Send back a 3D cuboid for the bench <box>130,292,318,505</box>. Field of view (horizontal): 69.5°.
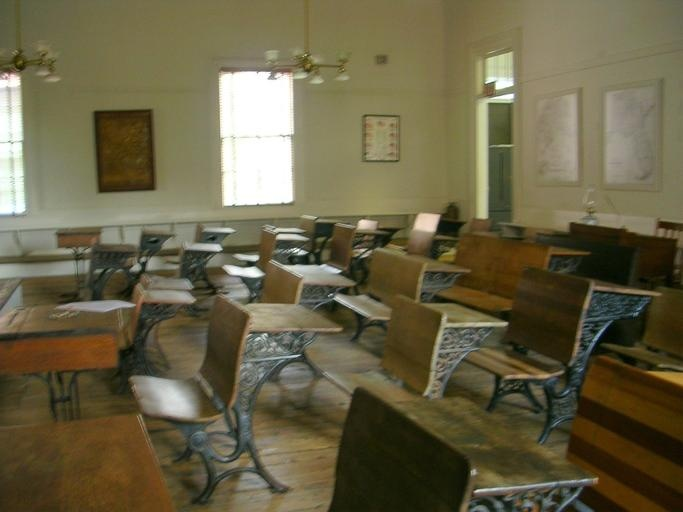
[{"bbox_3d":[-0.689,0.728,2.897,1.193,1.175,0.879,5,4,-22],"label":"bench"}]

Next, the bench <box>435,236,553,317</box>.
[{"bbox_3d":[1.274,0.113,4.150,0.742,0.607,1.398,-4,7,-23],"label":"bench"}]

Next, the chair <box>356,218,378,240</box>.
[{"bbox_3d":[0.373,-0.406,7.065,0.329,0.349,0.322,7,4,9],"label":"chair"}]

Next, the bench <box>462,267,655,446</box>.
[{"bbox_3d":[1.250,0.544,3.261,1.365,1.035,0.950,0,3,-17],"label":"bench"}]

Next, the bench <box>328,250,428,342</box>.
[{"bbox_3d":[0.380,0.248,3.991,0.757,0.630,1.082,-3,7,-23],"label":"bench"}]

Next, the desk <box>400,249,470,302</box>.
[{"bbox_3d":[0.818,0.171,4.250,0.441,0.207,0.575,13,1,-22],"label":"desk"}]

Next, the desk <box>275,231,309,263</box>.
[{"bbox_3d":[-0.649,-0.019,6.653,0.460,0.439,0.721,-1,3,-6],"label":"desk"}]

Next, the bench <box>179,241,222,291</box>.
[{"bbox_3d":[-1.807,0.163,6.441,0.487,0.787,1.466,-5,9,-14],"label":"bench"}]
